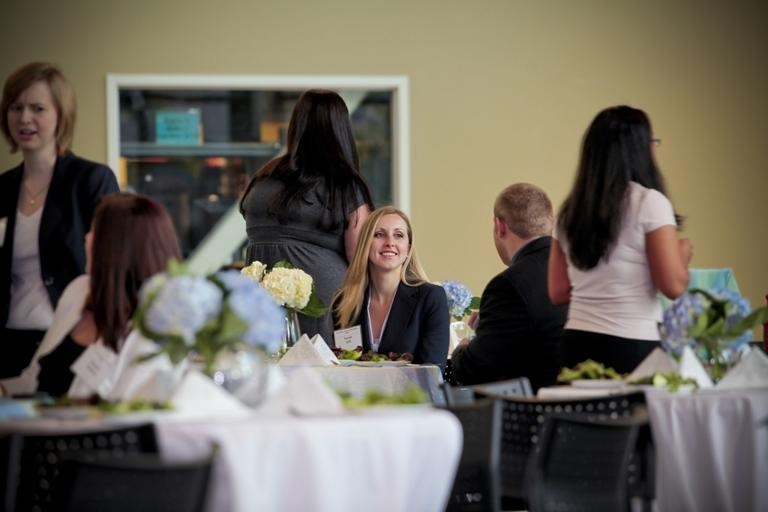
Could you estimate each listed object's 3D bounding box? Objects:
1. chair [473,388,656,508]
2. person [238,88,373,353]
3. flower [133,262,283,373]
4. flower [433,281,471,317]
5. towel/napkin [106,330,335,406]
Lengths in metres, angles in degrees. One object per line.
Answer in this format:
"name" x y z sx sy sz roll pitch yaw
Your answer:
"chair" 0.637 0.574 2.522 0.432 0.540 0.464 7 -13 -32
"person" -0.433 -0.051 4.114 0.658 1.723 0.629 20 31 20
"flower" -0.405 0.147 1.835 0.336 0.270 0.261 5 4 -8
"flower" 0.369 0.254 4.272 0.177 0.194 0.170 -20 30 24
"towel/napkin" -0.431 0.324 2.014 0.348 0.108 0.359 -2 -7 27
